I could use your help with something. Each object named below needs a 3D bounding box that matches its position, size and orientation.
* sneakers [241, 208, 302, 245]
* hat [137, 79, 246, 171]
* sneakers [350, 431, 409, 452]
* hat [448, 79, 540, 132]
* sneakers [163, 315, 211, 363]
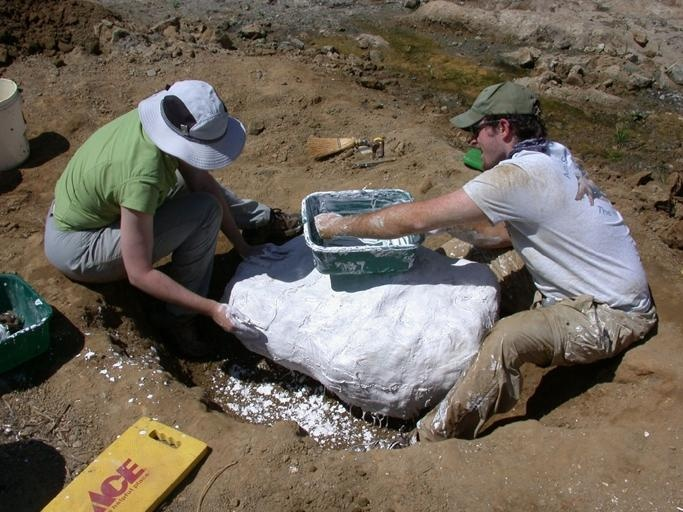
[{"bbox_3d":[-0.538,-0.268,5.749,0.483,0.188,0.235,-5,48,8],"label":"sneakers"},{"bbox_3d":[-0.950,-0.825,4.503,0.650,0.366,0.444,1,48,-2],"label":"hat"},{"bbox_3d":[0.276,1.188,4.629,0.222,0.069,0.154,1,0,23],"label":"sneakers"},{"bbox_3d":[0.973,-0.987,4.682,0.550,0.317,0.370,-1,14,9],"label":"hat"},{"bbox_3d":[-1.126,0.564,5.105,0.234,0.212,0.556,-51,20,2],"label":"sneakers"}]
